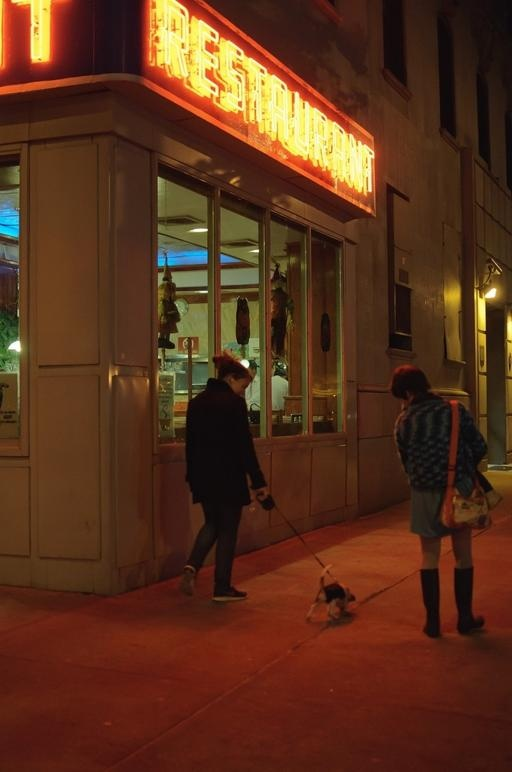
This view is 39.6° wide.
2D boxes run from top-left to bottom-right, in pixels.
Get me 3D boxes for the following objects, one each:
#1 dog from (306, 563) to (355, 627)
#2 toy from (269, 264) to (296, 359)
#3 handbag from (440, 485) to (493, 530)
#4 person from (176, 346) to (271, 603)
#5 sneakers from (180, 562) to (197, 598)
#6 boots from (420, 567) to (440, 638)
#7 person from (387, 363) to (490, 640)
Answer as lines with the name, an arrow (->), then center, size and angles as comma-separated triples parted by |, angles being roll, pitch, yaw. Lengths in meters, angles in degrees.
dog -> 0.461, 1.371, 4.686 | 0.195, 0.376, 0.624 | -2, 2, 20
toy -> 0.251, -0.836, 8.615 | 0.425, 1.125, 0.267 | 3, 26, 3
handbag -> 1.169, 0.679, 3.939 | 0.320, 0.230, 0.179 | -1, -1, -29
person -> -0.226, 0.641, 5.092 | 0.607, 1.765, 0.539 | -1, -1, -6
sneakers -> -0.469, 1.317, 4.856 | 0.079, 0.278, 0.103 | -4, -15, 21
boots -> 1.002, 1.241, 4.086 | 0.097, 0.395, 0.184 | -1, -1, 14
person -> 1.071, 0.659, 4.104 | 0.545, 1.578, 0.486 | -1, -1, 12
